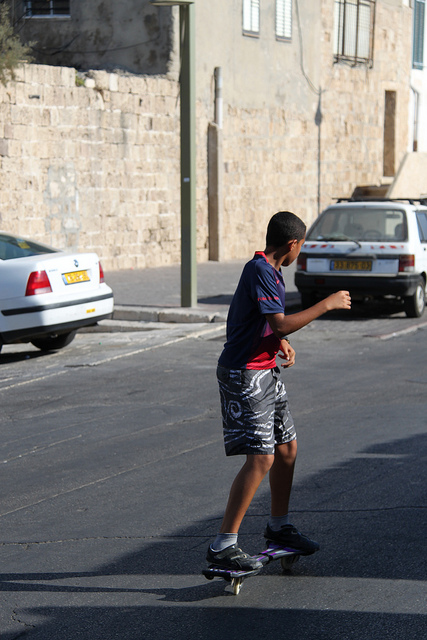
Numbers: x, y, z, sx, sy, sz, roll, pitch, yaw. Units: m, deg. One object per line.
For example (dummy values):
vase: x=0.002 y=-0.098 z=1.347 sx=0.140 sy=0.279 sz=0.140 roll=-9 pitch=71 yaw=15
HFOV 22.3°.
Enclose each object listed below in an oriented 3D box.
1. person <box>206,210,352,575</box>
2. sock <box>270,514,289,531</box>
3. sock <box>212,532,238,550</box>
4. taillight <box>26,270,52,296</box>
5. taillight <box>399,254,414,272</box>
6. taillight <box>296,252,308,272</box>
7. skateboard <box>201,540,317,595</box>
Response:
person: x=0.244 y=0.309 z=4.542 sx=0.504 sy=1.514 sz=0.868 roll=1 pitch=9 yaw=2
sock: x=0.272 y=0.857 z=4.558 sx=0.077 sy=0.053 sz=0.083 roll=1 pitch=10 yaw=0
sock: x=0.039 y=0.877 z=4.246 sx=0.119 sy=0.094 sz=0.042 roll=-4 pitch=-1 yaw=4
taillight: x=-1.647 y=-0.347 z=10.095 sx=0.202 sy=0.186 sz=0.072 roll=-8 pitch=-9 yaw=-44
taillight: x=2.329 y=-0.699 z=13.150 sx=0.191 sy=0.238 sz=0.024 roll=2 pitch=5 yaw=3
taillight: x=1.109 y=-0.748 z=13.800 sx=0.116 sy=0.239 sz=0.219 roll=-1 pitch=10 yaw=-11
skateboard: x=0.164 y=0.984 z=4.363 sx=0.172 sy=0.134 sz=0.529 roll=2 pitch=6 yaw=36
